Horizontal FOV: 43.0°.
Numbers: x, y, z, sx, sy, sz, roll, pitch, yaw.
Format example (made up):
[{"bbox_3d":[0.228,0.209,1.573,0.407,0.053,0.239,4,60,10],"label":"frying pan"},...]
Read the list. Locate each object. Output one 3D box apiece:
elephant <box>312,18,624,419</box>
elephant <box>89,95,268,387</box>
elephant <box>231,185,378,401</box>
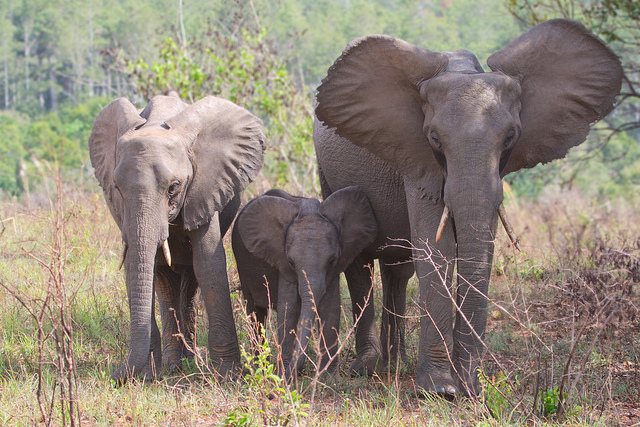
[{"bbox_3d":[1.442,0.155,9.587,2.898,3.729,4.037,2,-9,-23],"label":"elephant"},{"bbox_3d":[-1.483,0.204,8.519,1.329,3.116,1.583,-7,-10,44],"label":"elephant"},{"bbox_3d":[-0.102,0.663,9.675,1.307,2.261,2.902,-2,11,-5],"label":"elephant"}]
